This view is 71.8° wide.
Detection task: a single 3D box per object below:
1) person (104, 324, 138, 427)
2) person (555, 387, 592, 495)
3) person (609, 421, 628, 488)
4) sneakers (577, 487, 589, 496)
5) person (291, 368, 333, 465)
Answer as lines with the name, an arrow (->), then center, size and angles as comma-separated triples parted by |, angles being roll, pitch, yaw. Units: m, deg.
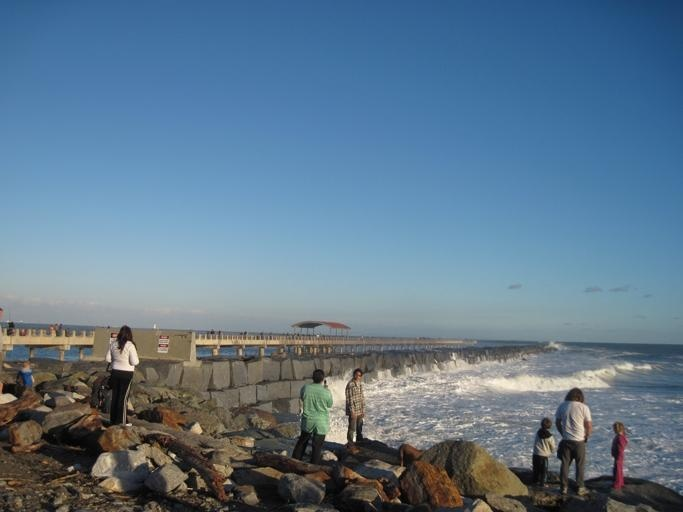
person -> -3.696, 1.987, 7.950 | 0.464, 1.603, 0.914 | 4, -10, -24
person -> 4.069, 3.204, 8.259 | 0.569, 1.746, 0.666 | -4, -10, 23
person -> 5.411, 3.796, 9.213 | 0.291, 1.234, 1.043 | -6, -10, 28
sneakers -> 4.149, 4.039, 8.142 | 0.155, 0.062, 0.176 | -4, -4, 31
person -> -0.497, 2.627, 7.795 | 0.622, 1.530, 0.677 | 0, -9, -5
